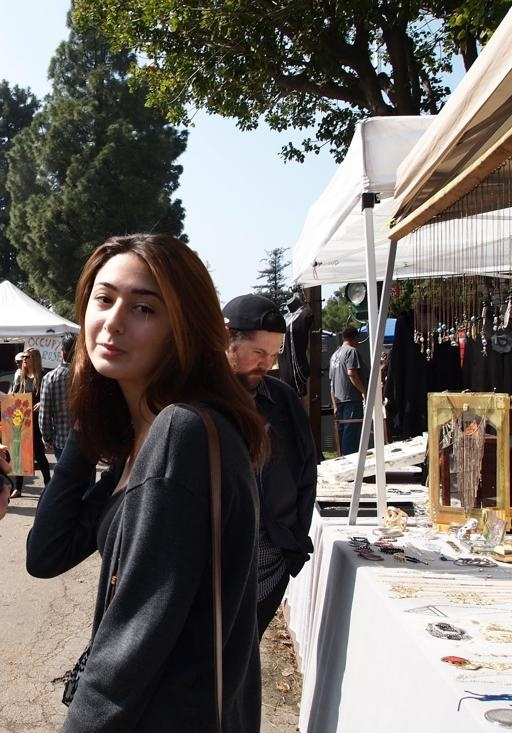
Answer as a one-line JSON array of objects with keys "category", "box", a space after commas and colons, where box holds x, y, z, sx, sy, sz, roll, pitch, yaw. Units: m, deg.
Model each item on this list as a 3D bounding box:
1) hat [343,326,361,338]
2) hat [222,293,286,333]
[{"category": "hat", "box": [1.207, -0.438, 7.661, 0.131, 0.174, 0.178, 7, 39, 23]}, {"category": "hat", "box": [-0.001, -0.201, 2.252, 0.251, 0.159, 0.187, 9, 11, 30]}]
